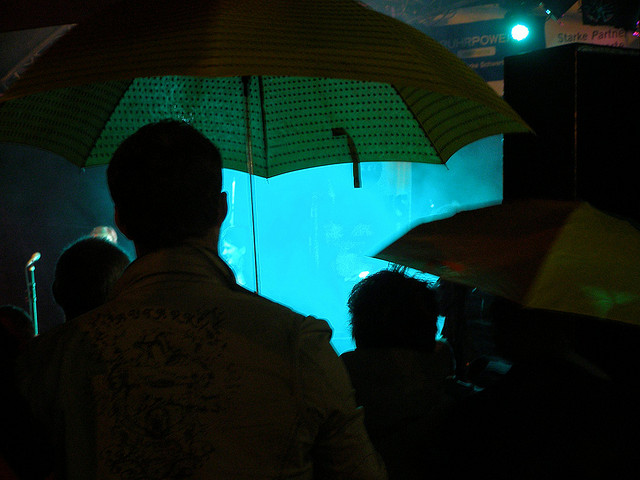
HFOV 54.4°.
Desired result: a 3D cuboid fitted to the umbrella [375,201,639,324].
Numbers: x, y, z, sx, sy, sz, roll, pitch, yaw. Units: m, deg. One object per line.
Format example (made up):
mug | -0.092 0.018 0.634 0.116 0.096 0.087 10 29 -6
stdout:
umbrella | 0.864 0.066 2.340 0.556 0.211 0.644 7 8 -26
